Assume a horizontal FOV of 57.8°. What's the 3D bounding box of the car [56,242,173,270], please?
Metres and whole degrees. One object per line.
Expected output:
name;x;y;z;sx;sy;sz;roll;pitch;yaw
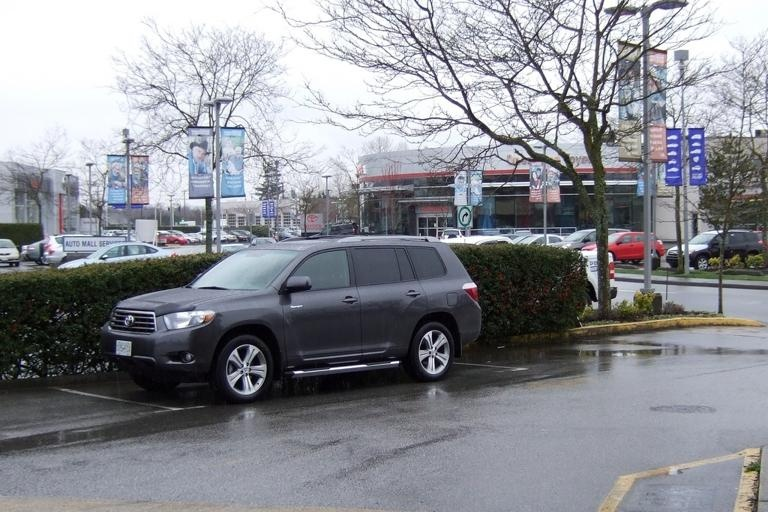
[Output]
car;-10.086;-0.080;25.652;2.635;0.897;1.172;2;-4;-23

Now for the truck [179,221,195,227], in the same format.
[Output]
truck;-48.855;-8.237;174.083;2.520;1.492;50.531;-1;2;-14

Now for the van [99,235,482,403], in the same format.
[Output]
van;-1.518;0.922;11.728;5.034;2.110;2.700;4;-5;-32

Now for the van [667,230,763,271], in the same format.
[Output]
van;17.815;-0.238;37.136;5.028;1.989;2.393;1;-3;-15

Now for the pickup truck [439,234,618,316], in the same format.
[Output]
pickup truck;3.509;0.515;16.582;3.645;1.166;2.638;1;-4;-3
